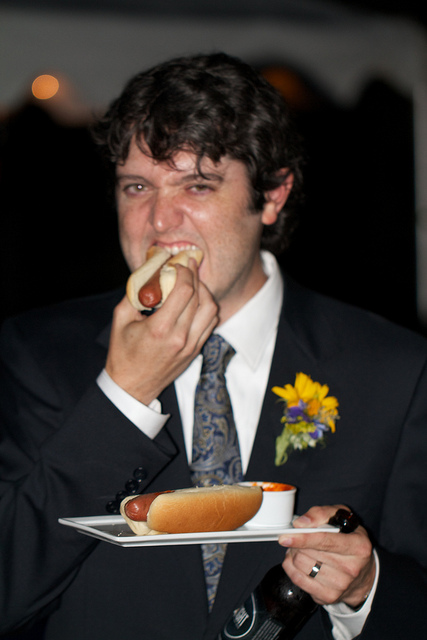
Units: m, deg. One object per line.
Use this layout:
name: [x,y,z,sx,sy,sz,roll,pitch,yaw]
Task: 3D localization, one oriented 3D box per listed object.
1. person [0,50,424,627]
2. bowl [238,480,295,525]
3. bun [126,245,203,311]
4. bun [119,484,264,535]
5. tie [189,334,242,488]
person: [0.045,0.124,2.318,1.491,0.691,1.854,0,58,-1]
bowl: [0.124,0.426,1.455,0.112,0.065,0.101,1,3,-7]
bun: [-0.163,-0.153,1.895,0.151,0.082,0.259,20,48,14]
bun: [-0.034,0.372,1.316,0.262,0.124,0.077,-2,80,-27]
tie: [0.010,0.271,1.802,0.136,0.498,0.113,-12,31,-11]
